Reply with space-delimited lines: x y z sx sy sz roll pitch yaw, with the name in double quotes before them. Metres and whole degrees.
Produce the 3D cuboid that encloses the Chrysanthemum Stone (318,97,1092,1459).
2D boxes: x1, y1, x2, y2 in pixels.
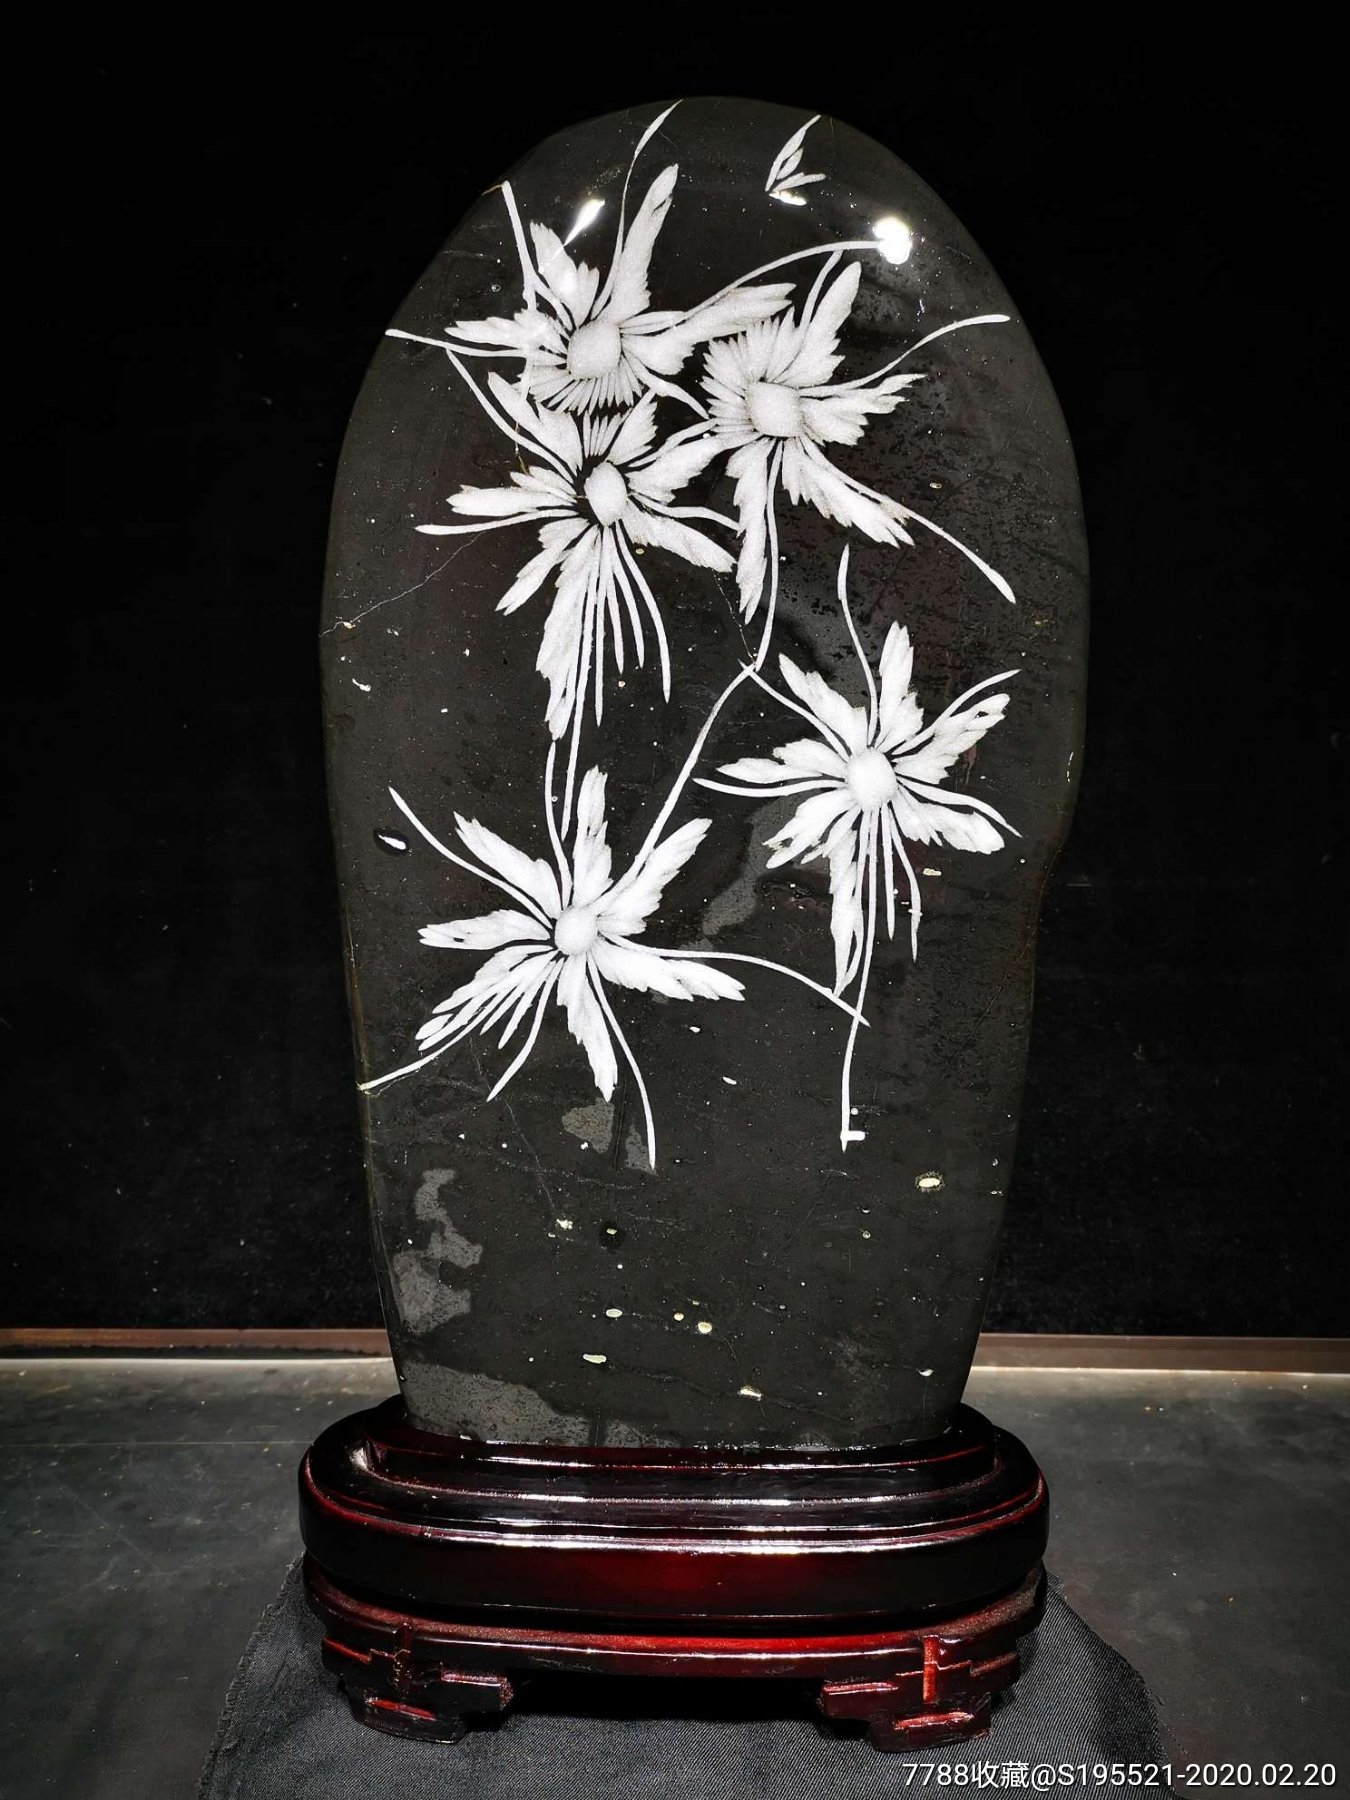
"Chrysanthemum Stone" 0.005 -0.067 1.309 0.462 0.810 0.236 7 18 7
